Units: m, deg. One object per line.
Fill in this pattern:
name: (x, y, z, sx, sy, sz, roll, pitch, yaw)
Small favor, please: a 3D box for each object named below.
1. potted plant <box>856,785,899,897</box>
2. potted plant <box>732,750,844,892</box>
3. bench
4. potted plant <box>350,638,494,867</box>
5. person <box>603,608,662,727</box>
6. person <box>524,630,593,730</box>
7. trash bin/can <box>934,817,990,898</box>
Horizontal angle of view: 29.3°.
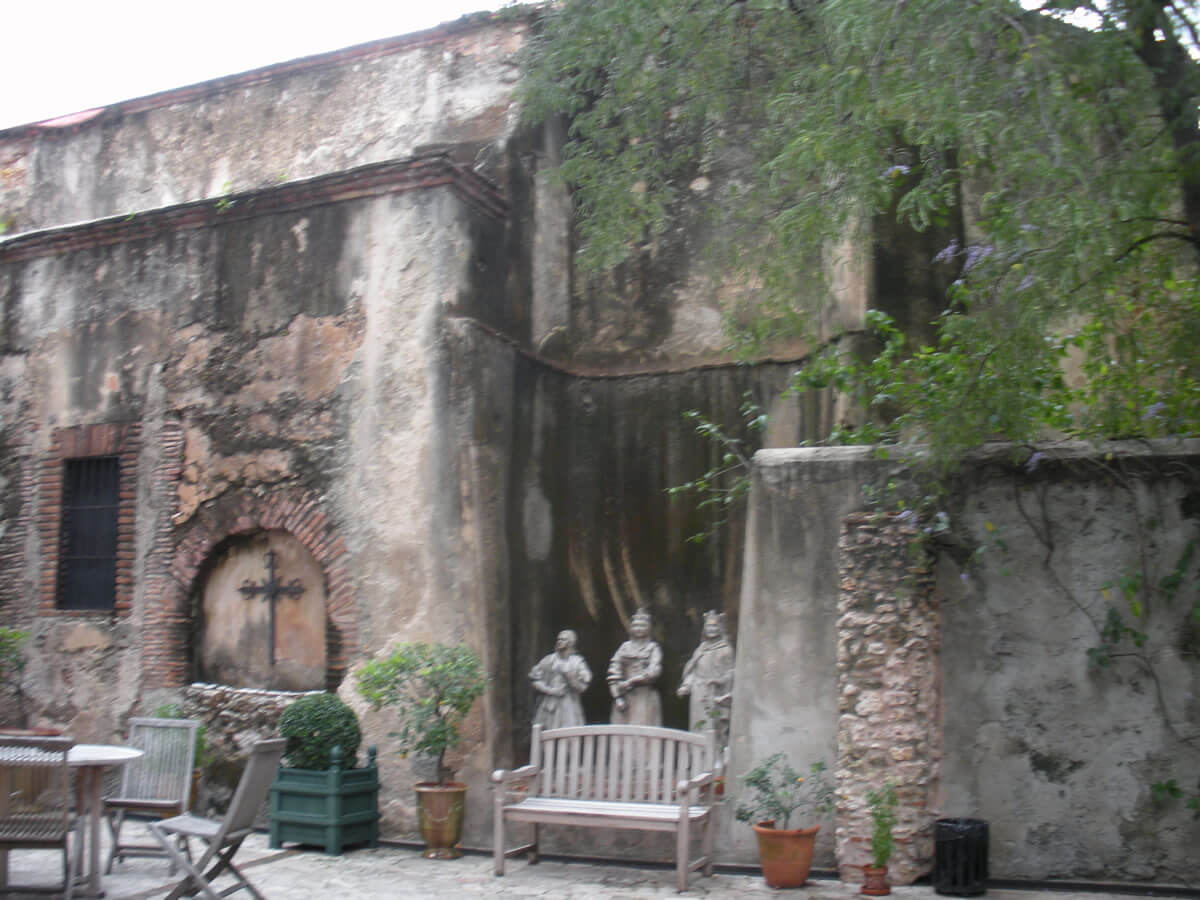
potted plant: (2.290, 3.156, 18.601, 0.310, 0.892, 0.168, -1, -14, 5)
potted plant: (1.541, 3.054, 18.940, 0.803, 1.110, 0.531, -1, -13, 5)
bench: (0.088, 3.009, 19.432, 1.880, 1.407, 1.275, -1, -13, 8)
potted plant: (-1.570, 2.602, 20.071, 1.110, 1.885, 0.752, 1, -13, -4)
person: (0.325, 1.939, 20.526, 0.463, 1.034, 0.415, 0, -13, 2)
person: (-0.354, 2.050, 20.726, 0.530, 0.936, 0.604, 1, -13, -1)
trash bin/can: (2.936, 3.274, 18.478, 0.434, 0.631, 0.243, -1, -14, 7)
